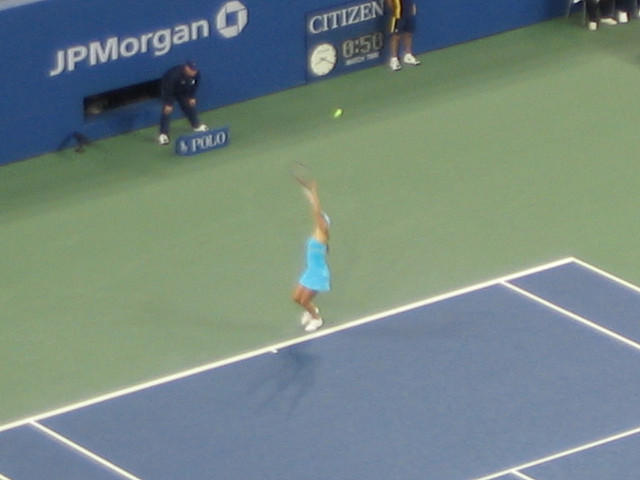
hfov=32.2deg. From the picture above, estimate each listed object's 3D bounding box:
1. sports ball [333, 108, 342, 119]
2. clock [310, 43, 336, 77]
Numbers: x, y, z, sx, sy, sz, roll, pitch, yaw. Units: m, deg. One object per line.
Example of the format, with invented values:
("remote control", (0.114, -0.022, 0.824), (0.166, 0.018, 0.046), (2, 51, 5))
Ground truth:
("sports ball", (0.544, -3.888, 34.052), (0.314, 0.229, 0.403), (-12, 17, 1))
("clock", (0.066, -5.752, 35.178), (0.807, 0.805, 0.105), (-28, 37, -18))
